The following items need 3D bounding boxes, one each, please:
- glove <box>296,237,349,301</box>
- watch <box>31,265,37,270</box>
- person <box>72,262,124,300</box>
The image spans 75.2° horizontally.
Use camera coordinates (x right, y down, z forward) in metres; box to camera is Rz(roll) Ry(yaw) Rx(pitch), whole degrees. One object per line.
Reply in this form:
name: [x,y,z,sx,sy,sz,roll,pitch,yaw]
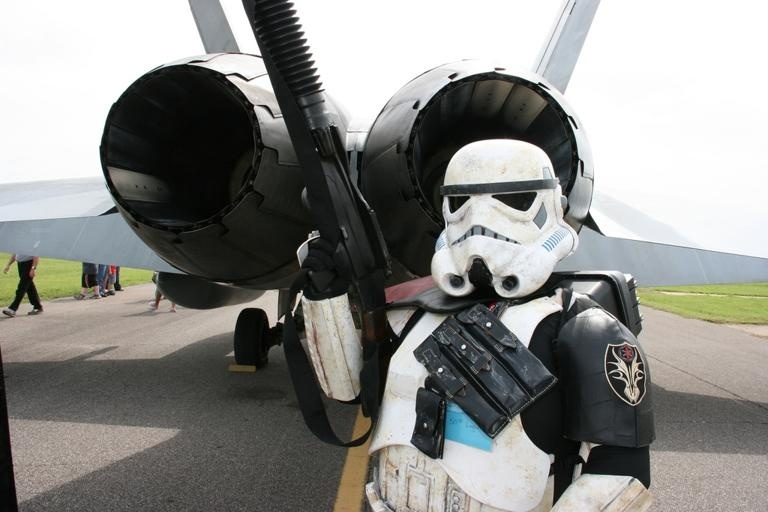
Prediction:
glove: [-0.351,0.064,2.631,0.237,0.339,0.120,-8,1,3]
watch: [-6.646,0.223,9.473,0.078,0.051,0.080,10,27,36]
person: [-8.411,0.798,14.673,0.307,1.105,0.546,4,13,21]
